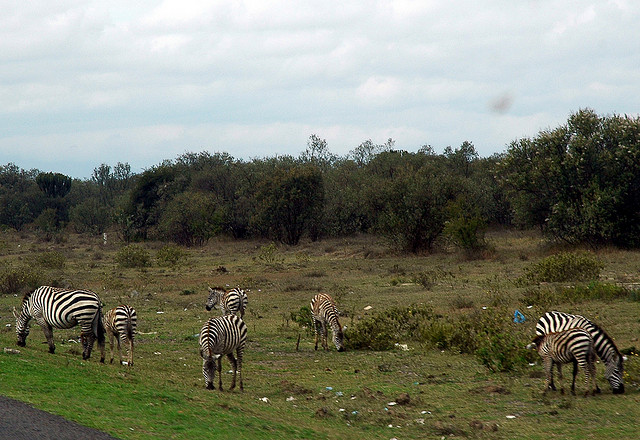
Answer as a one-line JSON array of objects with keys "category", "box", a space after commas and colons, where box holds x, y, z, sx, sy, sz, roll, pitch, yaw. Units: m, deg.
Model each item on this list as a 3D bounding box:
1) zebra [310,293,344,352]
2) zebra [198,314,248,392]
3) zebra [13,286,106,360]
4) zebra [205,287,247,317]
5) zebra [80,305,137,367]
[{"category": "zebra", "box": [0.350, 4.649, 37.201, 0.911, 2.469, 3.465, 1, 7, -21]}, {"category": "zebra", "box": [-3.911, 5.258, 32.002, 1.284, 2.815, 4.443, -1, -1, 6]}, {"category": "zebra", "box": [-10.406, 3.995, 32.848, 3.658, 2.836, 1.125, 0, 5, 7]}, {"category": "zebra", "box": [-4.449, 3.805, 39.027, 0.984, 1.470, 3.027, -7, 11, -31]}, {"category": "zebra", "box": [-8.357, 4.601, 33.520, 0.937, 2.443, 3.366, 5, -14, -40]}]
